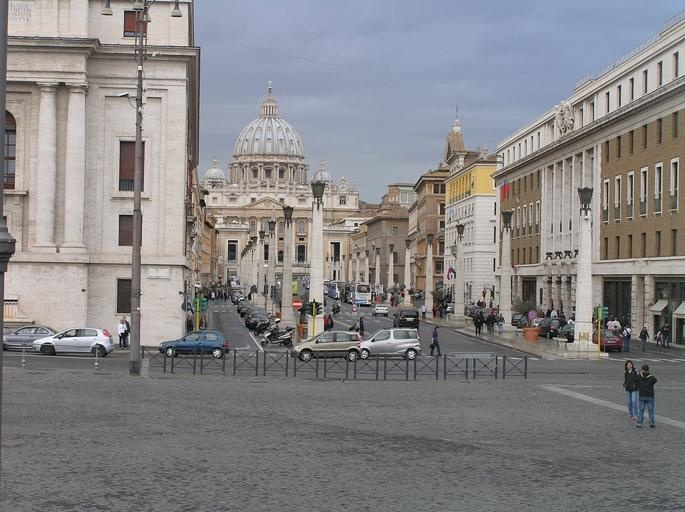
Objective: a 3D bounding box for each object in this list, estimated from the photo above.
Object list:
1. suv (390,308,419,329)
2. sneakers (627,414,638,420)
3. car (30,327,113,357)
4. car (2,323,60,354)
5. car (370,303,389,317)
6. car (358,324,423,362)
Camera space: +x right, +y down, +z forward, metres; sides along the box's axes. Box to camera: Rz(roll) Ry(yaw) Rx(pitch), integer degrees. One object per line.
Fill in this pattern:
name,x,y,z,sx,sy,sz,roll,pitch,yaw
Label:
suv,4.533,4.395,84.233,1.254,0.876,1.879,1,6,-5
sneakers,9.621,5.339,39.641,0.242,0.127,0.116,5,-10,-23
car,-13.337,4.287,59.251,3.598,1.285,1.947,3,-3,0
car,-15.439,4.167,60.789,3.609,1.160,1.493,2,-1,3
car,3.721,5.374,119.730,1.159,0.866,2.603,1,5,-2
car,2.493,4.341,59.259,2.588,1.123,1.469,2,-3,-3
